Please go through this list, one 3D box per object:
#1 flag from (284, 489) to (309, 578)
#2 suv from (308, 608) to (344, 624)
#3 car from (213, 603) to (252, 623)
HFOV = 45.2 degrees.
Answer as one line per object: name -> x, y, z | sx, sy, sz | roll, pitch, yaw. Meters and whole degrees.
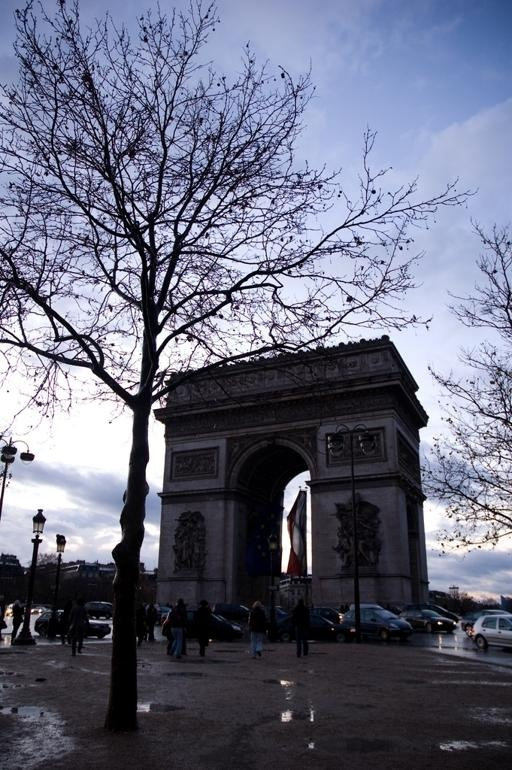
flag -> 3.001, 10.973, 45.664 | 1.199, 5.985, 2.320 | 2, -17, -4
suv -> 3.602, 11.622, 31.480 | 1.764, 0.947, 1.029 | -6, -23, 10
car -> -1.444, 13.848, 37.465 | 2.362, 1.238, 1.490 | -1, -23, -3
